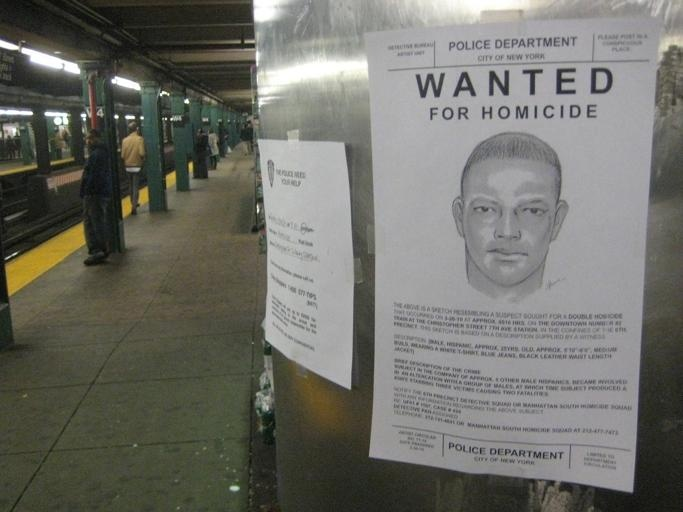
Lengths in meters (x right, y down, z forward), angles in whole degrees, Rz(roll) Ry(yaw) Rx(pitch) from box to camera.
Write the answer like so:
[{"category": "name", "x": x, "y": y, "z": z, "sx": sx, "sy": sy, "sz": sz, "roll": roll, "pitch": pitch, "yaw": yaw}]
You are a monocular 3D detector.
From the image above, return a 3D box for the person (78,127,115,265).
[{"category": "person", "x": -3.715, "y": -0.806, "z": 9.545, "sx": 0.466, "sy": 1.744, "sz": 0.597, "roll": -5, "pitch": 12, "yaw": -23}]

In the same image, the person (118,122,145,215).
[{"category": "person", "x": -4.607, "y": -1.942, "z": 14.075, "sx": 0.461, "sy": 1.975, "sz": 1.549, "roll": -4, "pitch": 12, "yaw": -19}]

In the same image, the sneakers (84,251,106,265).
[{"category": "sneakers", "x": -3.703, "y": 0.048, "z": 9.467, "sx": 0.146, "sy": 0.140, "sz": 0.311, "roll": 25, "pitch": 36, "yaw": 23}]
